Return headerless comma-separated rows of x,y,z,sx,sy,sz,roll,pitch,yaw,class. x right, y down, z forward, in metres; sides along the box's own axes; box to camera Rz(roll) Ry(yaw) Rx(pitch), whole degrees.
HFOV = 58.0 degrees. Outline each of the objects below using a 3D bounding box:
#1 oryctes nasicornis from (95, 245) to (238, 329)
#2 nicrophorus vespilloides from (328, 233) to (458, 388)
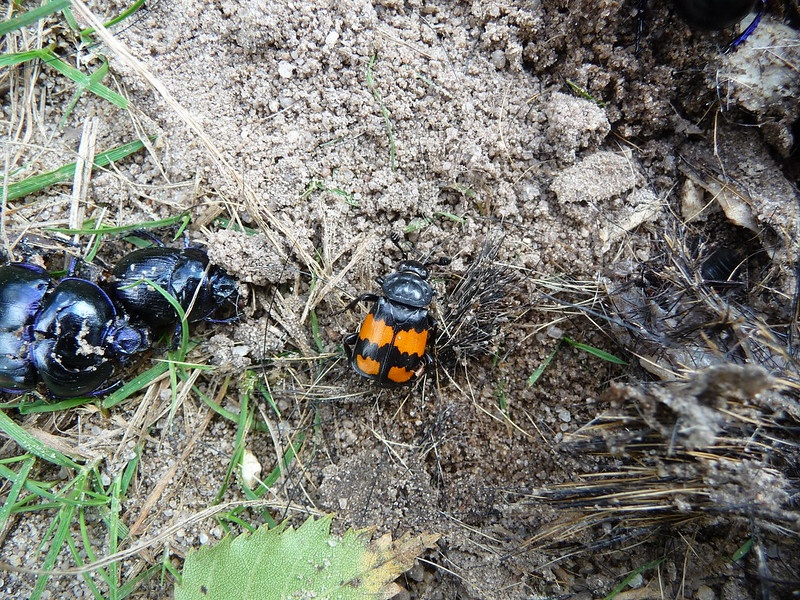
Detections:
-1.213,-0.098,3.865,0.577,0.197,0.435,-2,87,-10,oryctes nasicornis
-0.060,0.124,3.873,0.491,0.269,0.670,2,74,-3,nicrophorus vespilloides
